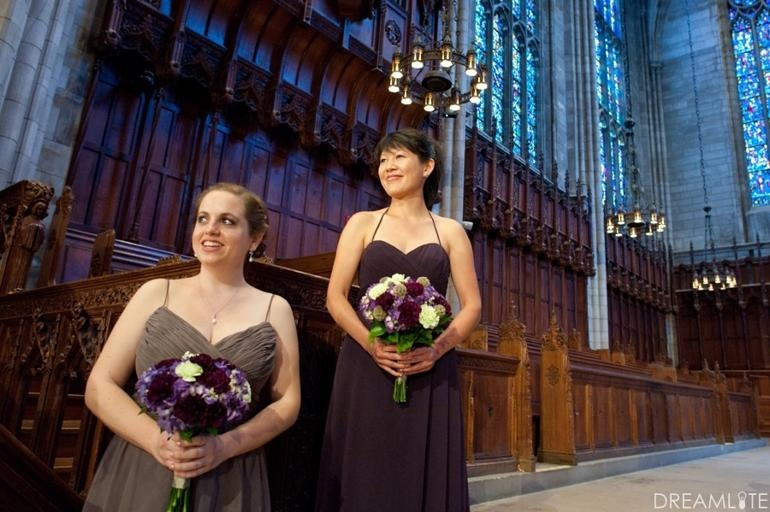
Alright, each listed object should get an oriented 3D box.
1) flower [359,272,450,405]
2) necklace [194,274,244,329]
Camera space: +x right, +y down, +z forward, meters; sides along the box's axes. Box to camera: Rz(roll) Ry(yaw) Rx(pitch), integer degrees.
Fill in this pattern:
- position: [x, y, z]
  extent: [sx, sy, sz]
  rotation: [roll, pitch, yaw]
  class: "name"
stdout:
- position: [0.006, 0.559, 4.478]
  extent: [0.811, 1.003, 0.759]
  rotation: [-2, 5, -27]
  class: "flower"
- position: [-1.160, 0.328, 4.015]
  extent: [0.344, 0.448, 0.035]
  rotation: [10, -40, -13]
  class: "necklace"
